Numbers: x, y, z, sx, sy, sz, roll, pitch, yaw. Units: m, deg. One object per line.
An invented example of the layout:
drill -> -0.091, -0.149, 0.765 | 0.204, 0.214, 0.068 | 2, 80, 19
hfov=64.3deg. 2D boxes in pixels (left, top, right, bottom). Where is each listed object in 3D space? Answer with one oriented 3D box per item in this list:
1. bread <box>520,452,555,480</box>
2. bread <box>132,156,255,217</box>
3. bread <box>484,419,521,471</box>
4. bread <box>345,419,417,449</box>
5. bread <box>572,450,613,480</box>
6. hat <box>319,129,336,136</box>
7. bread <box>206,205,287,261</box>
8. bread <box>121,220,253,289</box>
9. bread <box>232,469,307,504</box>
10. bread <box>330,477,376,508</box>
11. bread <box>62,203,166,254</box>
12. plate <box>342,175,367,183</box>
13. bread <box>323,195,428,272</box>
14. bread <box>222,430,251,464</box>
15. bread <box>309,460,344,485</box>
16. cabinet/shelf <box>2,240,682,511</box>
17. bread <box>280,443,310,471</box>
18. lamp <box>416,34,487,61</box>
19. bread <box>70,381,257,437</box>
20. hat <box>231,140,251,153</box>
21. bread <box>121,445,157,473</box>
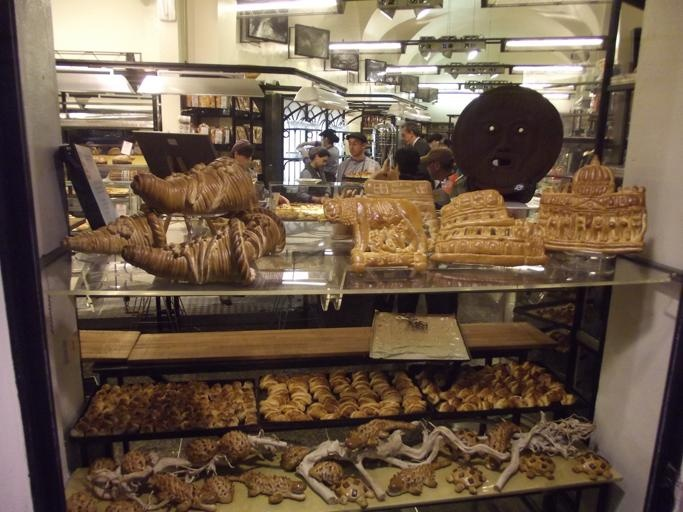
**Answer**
bread -> 0.784, 0.835, 2.156 | 0.090, 0.027, 0.091 | 5, 18, 26
bread -> -0.461, -0.230, 1.753 | 0.313, 0.133, 0.190 | -4, 14, -35
bread -> 0.664, 0.767, 2.210 | 0.115, 0.179, 0.076 | 10, -16, 7
bread -> 0.139, 0.673, 2.147 | 0.223, 0.061, 0.110 | -4, 2, -32
bread -> 1.000, 0.837, 2.170 | 0.101, 0.031, 0.102 | -4, 17, -1
hat -> -0.132, -1.434, 6.410 | 0.211, 0.067, 0.212 | 6, 16, 18
bread -> -0.324, -0.070, 1.924 | 0.222, 0.116, 0.176 | 7, 5, -20
bread -> -0.477, 0.000, 1.717 | 0.389, 0.206, 0.116 | -4, -8, -8
bread -> -0.263, 0.860, 2.032 | 0.191, 0.070, 0.113 | 9, 10, 14
bread -> 0.045, 0.882, 2.014 | 0.144, 0.100, 0.079 | -4, -8, -3
bread -> -0.693, -0.102, 1.679 | 0.229, 0.135, 0.140 | -12, 18, -36
plate -> 0.104, -0.610, 4.366 | 0.222, 0.029, 0.223 | -1, 10, -8
bread -> 0.144, -0.092, 1.901 | 0.288, 0.284, 0.084 | -4, -13, -12
bread -> -0.401, 0.724, 2.071 | 0.099, 0.108, 0.119 | 0, -2, 4
bread -> -0.058, 0.819, 2.052 | 0.100, 0.039, 0.073 | 13, 10, -34
cabinet/shelf -> -0.099, 0.632, 2.856 | 2.310, 1.100, 2.490 | -3, -9, -12
bread -> -0.178, 0.780, 2.141 | 0.108, 0.046, 0.083 | -16, 3, -23
lamp -> 1.442, -2.789, 7.103 | 0.848, 0.330, 0.363 | -7, -9, 14
bread -> -0.711, 0.624, 2.210 | 0.435, 0.072, 0.266 | 1, 18, -8
hat -> -0.903, -0.969, 4.970 | 0.173, 0.103, 0.241 | -4, 10, -19
bread -> -0.759, 0.758, 2.021 | 0.092, 0.044, 0.078 | 0, 7, -11
